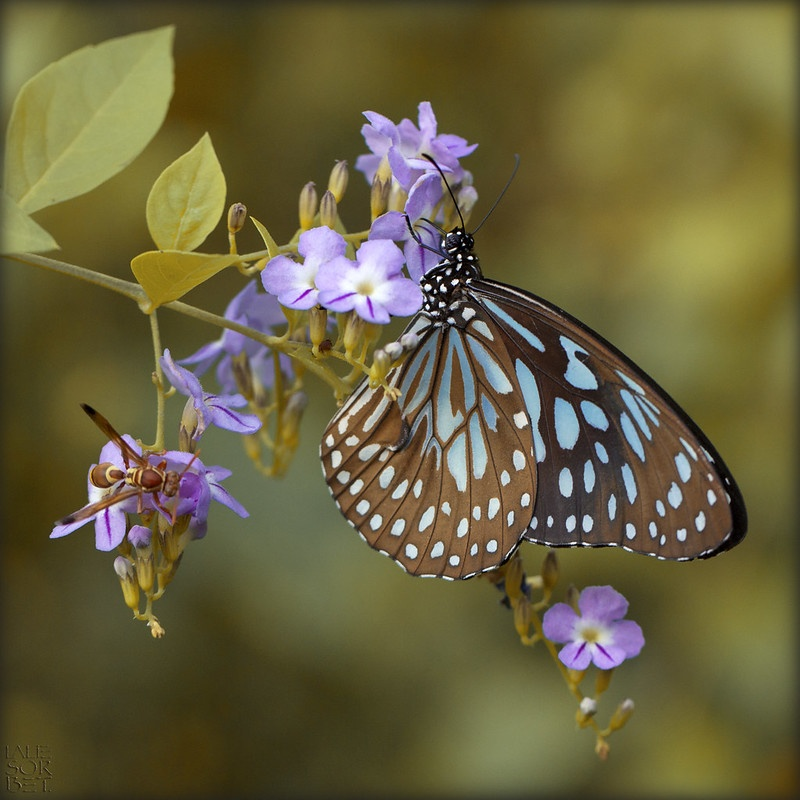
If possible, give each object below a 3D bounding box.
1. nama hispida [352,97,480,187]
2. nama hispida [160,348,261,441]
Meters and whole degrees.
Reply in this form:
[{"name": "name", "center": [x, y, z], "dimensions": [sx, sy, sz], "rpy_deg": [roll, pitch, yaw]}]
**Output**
[{"name": "nama hispida", "center": [0.066, -0.684, 3.206], "dimensions": [0.376, 0.131, 0.428], "rpy_deg": [27, 14, 0]}, {"name": "nama hispida", "center": [-0.532, 0.019, 3.045], "dimensions": [0.311, 0.185, 0.184], "rpy_deg": [22, -27, -31]}]
